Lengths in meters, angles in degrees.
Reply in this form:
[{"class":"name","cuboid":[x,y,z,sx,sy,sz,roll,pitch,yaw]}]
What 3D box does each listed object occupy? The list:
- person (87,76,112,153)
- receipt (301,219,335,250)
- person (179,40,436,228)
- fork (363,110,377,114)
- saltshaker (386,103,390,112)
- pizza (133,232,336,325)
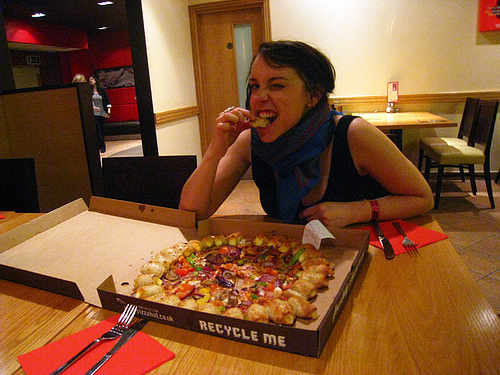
[{"class":"person","cuboid":[-3.162,-1.580,7.386,0.309,1.508,1.085,-11,21,-18]},{"class":"receipt","cuboid":[0.209,0.144,1.087,0.078,0.091,0.096,-10,34,-14]},{"class":"person","cuboid":[0.230,-0.174,1.602,1.059,0.923,0.594,1,13,12]},{"class":"fork","cuboid":[1.579,-0.980,4.492,0.188,0.028,0.047,-6,-30,37]},{"class":"saltshaker","cuboid":[1.764,-1.013,4.384,0.029,0.093,0.067,19,4,-13]},{"class":"pizza","cuboid":[-0.030,0.193,0.988,0.482,0.174,0.321,3,8,20]}]
